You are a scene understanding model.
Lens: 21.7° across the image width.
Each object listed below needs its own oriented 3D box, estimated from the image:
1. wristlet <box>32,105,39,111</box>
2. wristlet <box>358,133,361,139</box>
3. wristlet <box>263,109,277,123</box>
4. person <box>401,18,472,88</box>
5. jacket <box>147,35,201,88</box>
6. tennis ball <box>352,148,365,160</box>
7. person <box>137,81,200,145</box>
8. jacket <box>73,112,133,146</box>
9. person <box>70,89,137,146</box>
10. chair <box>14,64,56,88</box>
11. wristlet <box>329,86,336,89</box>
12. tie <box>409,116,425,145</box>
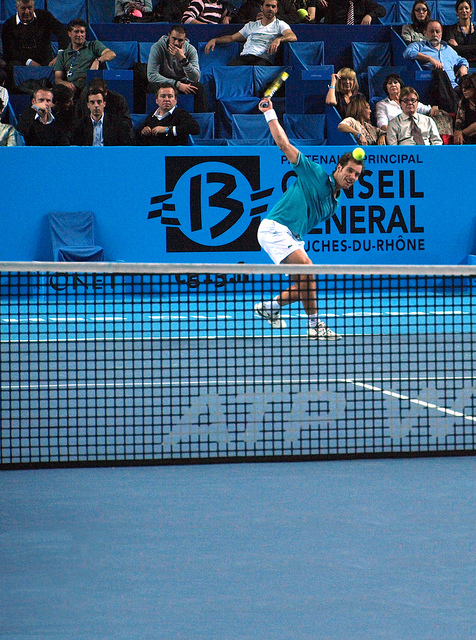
[{"bbox_3d":[-2.259,-2.353,13.828,0.094,0.059,0.022,9,15,37],"label":"wristlet"},{"bbox_3d":[1.301,-1.994,13.506,0.027,0.057,0.057,1,12,5],"label":"wristlet"},{"bbox_3d":[0.229,-1.491,9.107,0.078,0.095,0.084,-7,7,9],"label":"wristlet"},{"bbox_3d":[2.607,-3.527,16.466,0.830,0.827,1.956,3,13,14],"label":"person"},{"bbox_3d":[-0.788,-3.035,15.042,0.588,0.825,0.749,-2,16,-11],"label":"jacket"},{"bbox_3d":[0.847,-1.209,8.938,0.072,0.075,0.088,28,52,7],"label":"tennis ball"},{"bbox_3d":[-0.788,-2.272,13.808,0.680,0.640,0.421,0,11,-2],"label":"person"},{"bbox_3d":[-1.485,-2.057,13.512,0.377,0.342,0.147,-1,-7,3],"label":"jacket"},{"bbox_3d":[-1.498,-2.194,13.506,0.681,0.595,0.365,-1,11,-7],"label":"person"},{"bbox_3d":[-2.626,-3.141,15.996,0.509,0.257,0.844,-2,13,-11],"label":"chair"},{"bbox_3d":[1.086,-2.722,14.593,0.056,0.032,0.149,0,13,0],"label":"wristlet"},{"bbox_3d":[1.941,-2.086,13.690,0.164,0.295,0.117,-5,12,-22],"label":"tie"}]
